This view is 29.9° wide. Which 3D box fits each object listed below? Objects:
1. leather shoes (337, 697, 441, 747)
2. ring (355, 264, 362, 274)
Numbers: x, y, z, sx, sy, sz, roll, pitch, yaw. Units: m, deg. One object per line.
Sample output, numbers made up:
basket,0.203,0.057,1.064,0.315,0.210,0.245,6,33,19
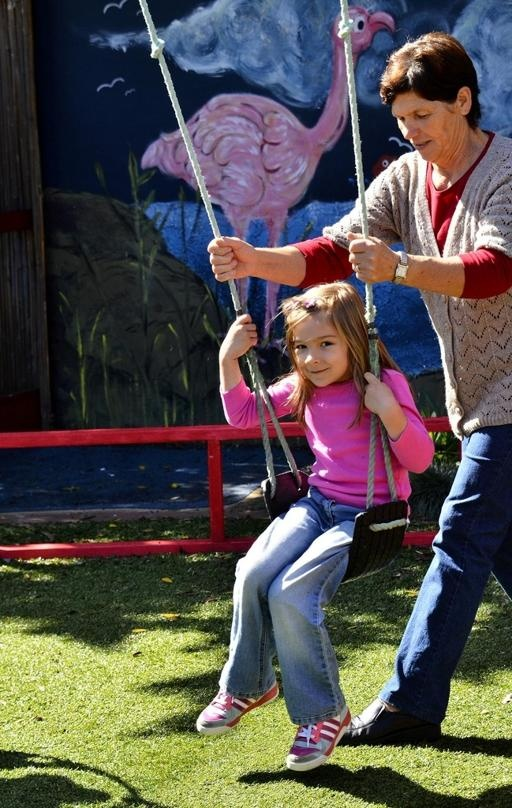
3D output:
leather shoes,0.337,0.809,2.458,0.306,0.103,0.098,1,0,5
ring,0.238,-0.316,2.245,0.008,0.018,0.016,1,-8,-43
